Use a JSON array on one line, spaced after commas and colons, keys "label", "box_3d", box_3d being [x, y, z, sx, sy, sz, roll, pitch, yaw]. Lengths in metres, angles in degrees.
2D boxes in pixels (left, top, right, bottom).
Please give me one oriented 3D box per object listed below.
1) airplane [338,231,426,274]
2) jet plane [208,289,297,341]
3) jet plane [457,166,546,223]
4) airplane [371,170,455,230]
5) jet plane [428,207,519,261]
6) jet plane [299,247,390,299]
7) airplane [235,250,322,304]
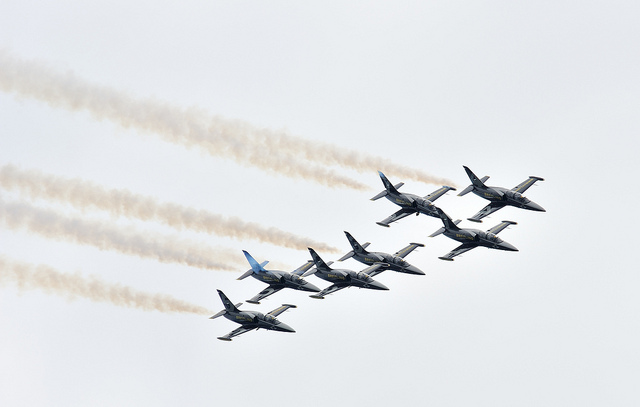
[{"label": "airplane", "box_3d": [4.877, 4.915, 106.673, 6.809, 7.090, 2.255, 13, -61, 24]}, {"label": "jet plane", "box_3d": [-6.419, 10.762, 120.726, 7.839, 8.714, 2.550, 8, -81, 29]}, {"label": "jet plane", "box_3d": [18.955, -1.188, 127.380, 8.270, 8.988, 2.799, 13, -98, 19]}, {"label": "airplane", "box_3d": [9.571, -0.513, 127.483, 8.247, 9.038, 2.917, 26, -45, 35]}, {"label": "jet plane", "box_3d": [15.192, 3.275, 124.608, 6.409, 7.095, 2.909, -10, -51, 4]}, {"label": "jet plane", "box_3d": [2.638, 6.793, 122.728, 8.925, 10.226, 2.848, 8, -67, 33]}, {"label": "airplane", "box_3d": [-4.037, 6.863, 123.451, 8.346, 9.004, 2.928, 12, -60, 27]}]
